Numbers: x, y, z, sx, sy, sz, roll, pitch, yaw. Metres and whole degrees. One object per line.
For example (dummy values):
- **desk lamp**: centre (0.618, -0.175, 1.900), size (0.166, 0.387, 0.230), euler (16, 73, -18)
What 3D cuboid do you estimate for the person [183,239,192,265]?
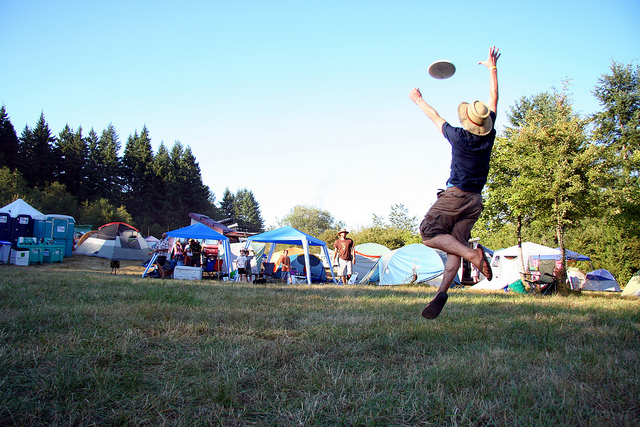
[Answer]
- **person**: centre (-4.914, 1.417, 17.876), size (0.273, 0.744, 0.959), euler (-1, 10, -15)

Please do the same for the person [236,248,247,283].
- **person**: centre (-2.919, 1.966, 18.008), size (0.350, 1.295, 0.729), euler (0, 10, -9)

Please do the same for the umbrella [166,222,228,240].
- **umbrella**: centre (-4.514, 0.783, 17.760), size (1.454, 0.564, 1.930), euler (5, 11, 20)

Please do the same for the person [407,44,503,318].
- **person**: centre (1.928, -0.484, 6.792), size (1.120, 3.691, 1.223), euler (2, 9, 4)

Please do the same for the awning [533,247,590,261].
- **awning**: centre (9.915, 1.679, 19.672), size (1.042, 0.458, 1.101), euler (-1, -2, 7)

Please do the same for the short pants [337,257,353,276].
- **short pants**: centre (0.906, 1.881, 17.060), size (0.713, 0.778, 0.438), euler (1, -17, 4)

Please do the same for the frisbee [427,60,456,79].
- **frisbee**: centre (1.791, -2.088, 6.996), size (0.304, 0.256, 0.310), euler (-3, 11, -26)

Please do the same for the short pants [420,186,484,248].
- **short pants**: centre (1.953, 0.028, 6.953), size (0.741, 1.003, 0.595), euler (21, -7, -34)

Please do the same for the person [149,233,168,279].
- **person**: centre (-5.711, 1.424, 17.255), size (0.430, 1.324, 1.504), euler (-2, 10, -20)

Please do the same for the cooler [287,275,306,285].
- **cooler**: centre (-0.934, 2.540, 18.451), size (0.424, 0.221, 0.578), euler (-4, -4, 24)

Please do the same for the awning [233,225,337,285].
- **awning**: centre (-0.955, 1.548, 19.596), size (2.713, 2.115, 2.813), euler (-3, -14, 25)
